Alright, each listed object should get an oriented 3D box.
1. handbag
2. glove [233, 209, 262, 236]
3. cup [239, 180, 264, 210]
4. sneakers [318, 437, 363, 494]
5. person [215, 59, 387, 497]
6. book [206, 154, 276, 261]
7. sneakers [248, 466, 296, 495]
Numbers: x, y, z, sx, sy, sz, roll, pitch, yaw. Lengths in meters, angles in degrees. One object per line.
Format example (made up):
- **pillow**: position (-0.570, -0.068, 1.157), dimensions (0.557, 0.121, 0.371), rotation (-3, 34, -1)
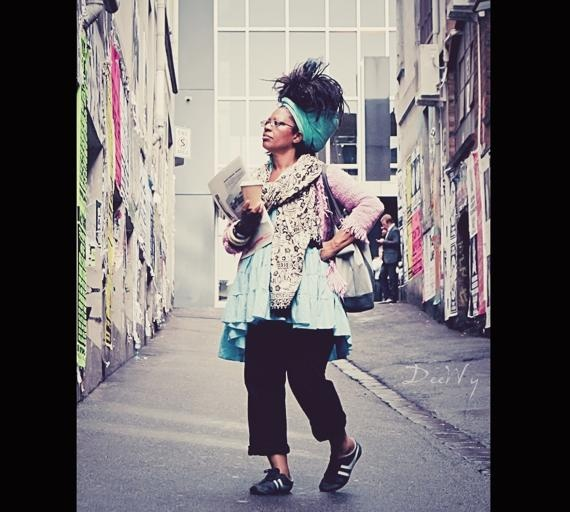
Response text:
- **handbag**: position (0.337, 0.084, 4.383), dimensions (0.306, 0.504, 0.193), rotation (0, 8, 9)
- **glove**: position (-0.195, -0.168, 4.313), dimensions (0.139, 0.147, 0.070), rotation (1, 2, -3)
- **cup**: position (-0.172, -0.310, 4.250), dimensions (0.107, 0.136, 0.121), rotation (-2, 0, 0)
- **sneakers**: position (0.276, 1.108, 4.399), dimensions (0.117, 0.334, 0.123), rotation (25, 1, 25)
- **person**: position (0.080, 0.095, 4.496), dimensions (0.666, 2.253, 0.635), rotation (0, -17, 11)
- **book**: position (-0.234, -0.259, 4.318), dimensions (0.141, 0.422, 0.414), rotation (-23, -14, -37)
- **sneakers**: position (-0.066, 1.178, 4.392), dimensions (0.209, 0.146, 0.114), rotation (1, -10, -2)
